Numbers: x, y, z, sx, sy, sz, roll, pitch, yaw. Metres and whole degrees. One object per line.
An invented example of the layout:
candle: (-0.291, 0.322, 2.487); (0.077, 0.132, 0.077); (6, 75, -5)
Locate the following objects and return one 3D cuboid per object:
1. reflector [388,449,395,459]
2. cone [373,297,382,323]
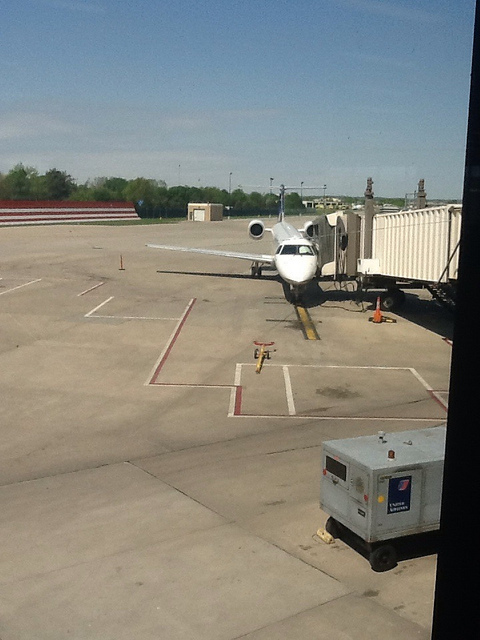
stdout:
reflector: (1.943, 1.726, 8.780); (0.084, 0.113, 0.089); (3, 9, 40)
cone: (5.251, -0.397, 25.956); (0.328, 1.037, 1.238); (2, 9, 13)
